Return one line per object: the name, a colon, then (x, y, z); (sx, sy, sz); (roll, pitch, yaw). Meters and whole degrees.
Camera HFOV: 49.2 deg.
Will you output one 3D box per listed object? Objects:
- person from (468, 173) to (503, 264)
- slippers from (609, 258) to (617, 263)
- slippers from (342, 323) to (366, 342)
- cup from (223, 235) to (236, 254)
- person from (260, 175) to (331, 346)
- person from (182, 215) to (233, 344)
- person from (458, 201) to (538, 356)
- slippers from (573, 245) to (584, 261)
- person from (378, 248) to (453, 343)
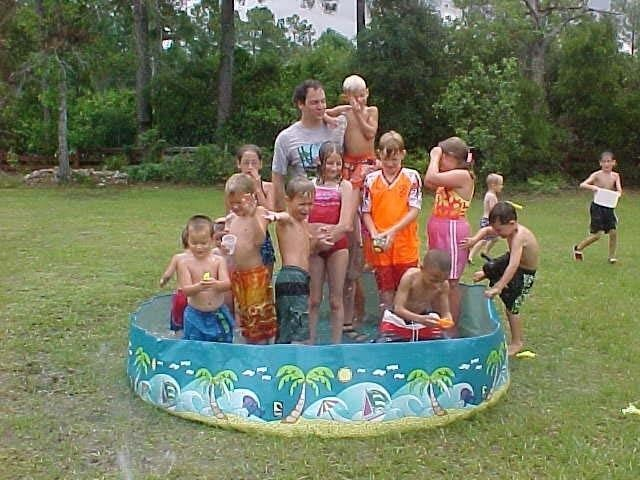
person: (2.489, -0.290, 10.339); (0.636, 1.354, 0.397); (-8, 20, -22)
slippers: (4.046, 0.288, 9.741); (0.073, 0.062, 0.135); (-4, 3, 3)
slippers: (0.321, 0.917, 6.784); (0.100, 0.071, 0.272); (-4, 30, -27)
cup: (-0.793, 0.037, 6.157); (0.146, 0.153, 0.138); (0, -6, 0)
person: (-0.260, 0.187, 6.095); (0.389, 1.400, 0.368); (1, 7, -4)
person: (-0.987, 0.347, 6.016); (0.458, 1.094, 0.440); (2, 7, 3)
person: (1.747, 0.349, 6.752); (0.624, 1.431, 0.843); (3, 7, 16)
slippers: (3.628, 0.200, 9.913); (0.109, 0.296, 0.123); (-1, -5, -31)
person: (0.895, 0.496, 6.154); (0.695, 0.847, 0.494); (0, 7, -11)
